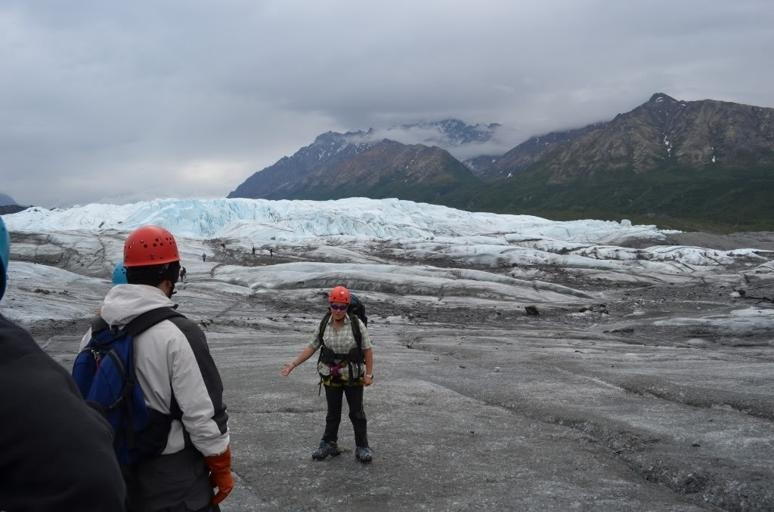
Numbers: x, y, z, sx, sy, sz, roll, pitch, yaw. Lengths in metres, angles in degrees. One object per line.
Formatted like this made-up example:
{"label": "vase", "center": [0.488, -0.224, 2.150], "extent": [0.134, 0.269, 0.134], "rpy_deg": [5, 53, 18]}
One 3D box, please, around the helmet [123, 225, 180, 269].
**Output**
{"label": "helmet", "center": [-2.078, -0.088, 4.767], "extent": [0.436, 0.389, 0.479], "rpy_deg": [-2, -2, 11]}

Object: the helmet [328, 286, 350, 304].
{"label": "helmet", "center": [-0.644, 0.571, 7.688], "extent": [0.268, 0.142, 0.315], "rpy_deg": [3, -5, 0]}

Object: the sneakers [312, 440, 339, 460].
{"label": "sneakers", "center": [-0.858, 2.867, 7.809], "extent": [0.472, 0.189, 0.187], "rpy_deg": [7, -15, -33]}

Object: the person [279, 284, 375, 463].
{"label": "person", "center": [-0.702, 1.708, 7.825], "extent": [1.040, 2.551, 0.630], "rpy_deg": [-1, 3, -3]}
